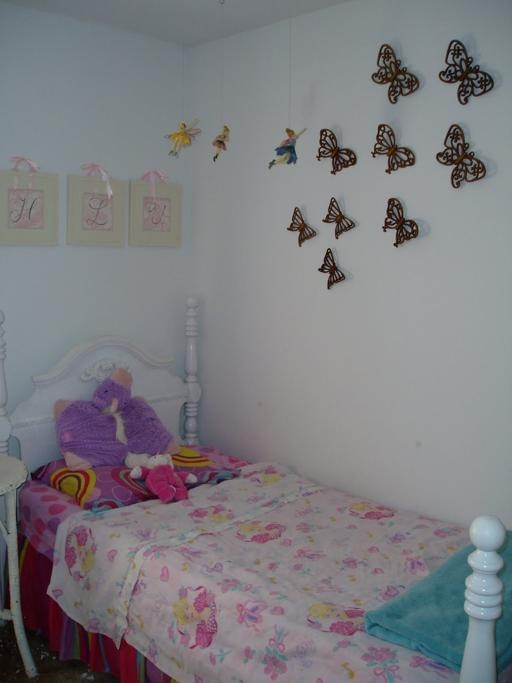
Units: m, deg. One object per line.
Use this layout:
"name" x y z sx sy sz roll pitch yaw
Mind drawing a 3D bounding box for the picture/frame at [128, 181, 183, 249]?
"picture/frame" -0.539 -0.671 3.193 0.410 0.405 0.091 -4 6 -44

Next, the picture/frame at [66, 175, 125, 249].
"picture/frame" -0.781 -0.628 2.925 0.032 0.335 0.392 11 12 40

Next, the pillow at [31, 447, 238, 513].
"pillow" -0.463 0.586 2.608 0.535 0.080 0.318 -6 12 -41
